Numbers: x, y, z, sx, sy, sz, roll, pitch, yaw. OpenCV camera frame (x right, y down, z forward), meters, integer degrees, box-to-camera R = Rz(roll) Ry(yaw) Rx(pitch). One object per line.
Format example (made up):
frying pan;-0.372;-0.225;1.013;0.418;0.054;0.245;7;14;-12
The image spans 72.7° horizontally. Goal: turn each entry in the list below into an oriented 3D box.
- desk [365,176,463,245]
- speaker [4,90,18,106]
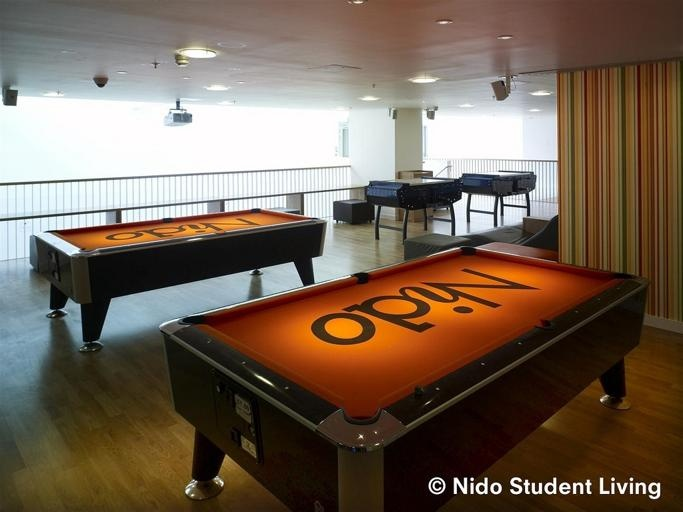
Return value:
desk;1.152;-1.002;8.404;1.955;1.082;1.326;-8;12;-38
speaker;-4.451;-2.137;6.238;0.116;0.094;0.196;0;9;-32
